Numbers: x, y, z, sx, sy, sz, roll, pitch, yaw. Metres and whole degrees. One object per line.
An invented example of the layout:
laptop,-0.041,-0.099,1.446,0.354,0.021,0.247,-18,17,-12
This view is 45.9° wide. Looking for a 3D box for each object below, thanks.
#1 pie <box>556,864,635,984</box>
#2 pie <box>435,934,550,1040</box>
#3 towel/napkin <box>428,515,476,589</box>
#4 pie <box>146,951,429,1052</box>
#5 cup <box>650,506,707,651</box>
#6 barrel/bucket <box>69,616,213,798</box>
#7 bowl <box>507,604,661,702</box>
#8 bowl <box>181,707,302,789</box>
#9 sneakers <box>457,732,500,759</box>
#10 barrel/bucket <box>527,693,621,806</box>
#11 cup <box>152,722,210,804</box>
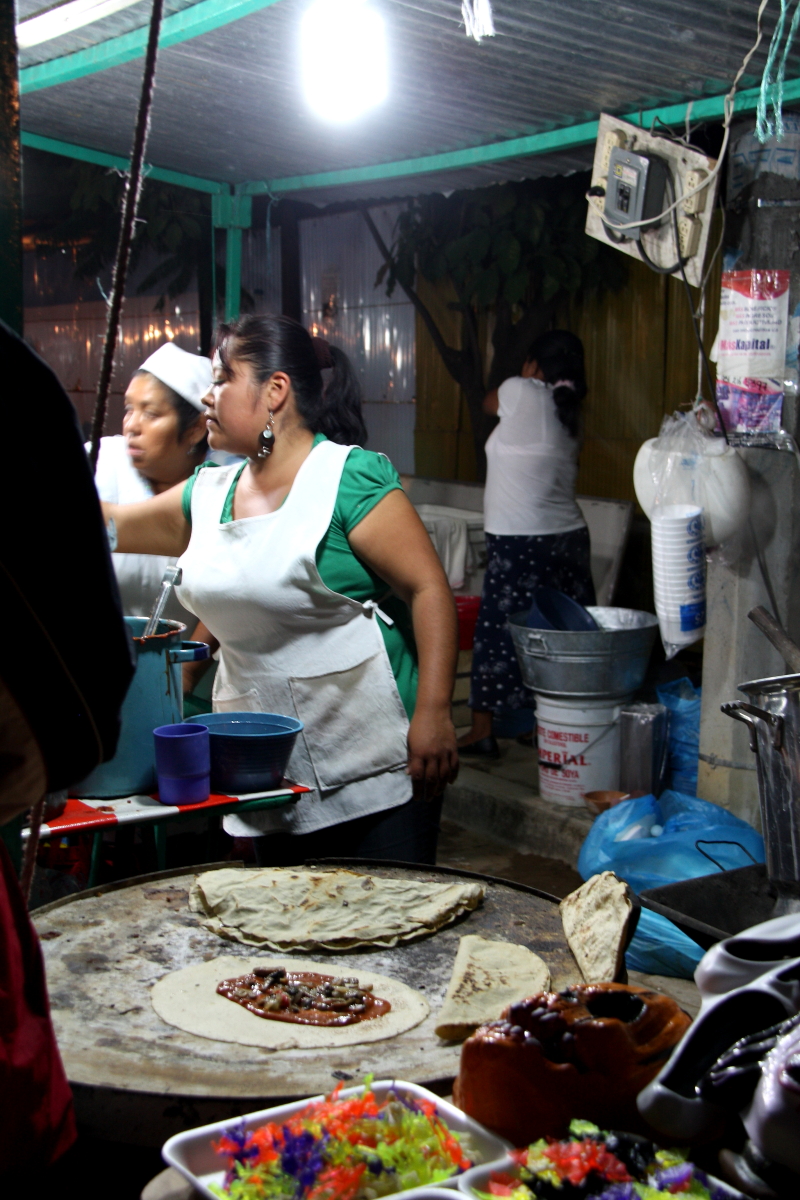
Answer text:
pie,0.266,0.452,1.286,0.128,0.119,0.027,11,-27,-33
pie,0.122,0.532,1.302,0.102,0.020,0.198,2,13,13
towel/napkin,0.352,-0.332,6.280,0.357,0.464,0.142,-4,10,1
pie,-0.158,0.556,1.302,0.398,0.027,0.267,-1,3,17
cup,0.815,-0.046,2.774,0.136,0.455,0.239,-1,4,21
barrel/bucket,-0.552,0.226,1.860,0.309,0.294,0.190,-1,-5,-13
bowl,0.953,0.195,4.648,0.567,0.272,0.528,0,5,0
bowl,-0.326,0.303,1.940,0.174,0.081,0.168,2,4,0
sneakers,0.475,0.866,5.668,0.239,0.168,0.142,-2,4,3
barrel/bucket,0.966,0.760,4.991,0.510,0.546,0.521,-2,3,0
cup,-0.413,0.314,1.801,0.113,0.128,0.123,-1,4,0
